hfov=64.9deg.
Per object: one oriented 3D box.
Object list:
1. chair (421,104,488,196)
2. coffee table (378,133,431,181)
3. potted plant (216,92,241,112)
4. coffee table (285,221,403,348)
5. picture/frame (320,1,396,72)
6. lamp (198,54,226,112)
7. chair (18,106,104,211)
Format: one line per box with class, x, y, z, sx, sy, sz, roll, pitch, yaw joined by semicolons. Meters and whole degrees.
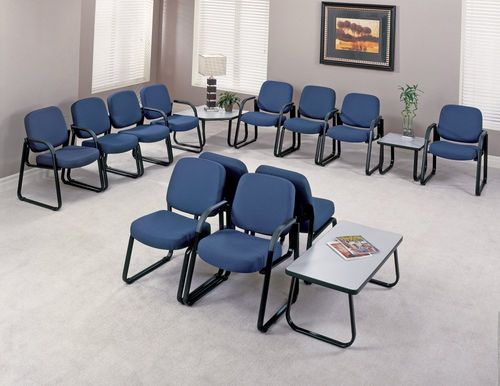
chair;2.925;-0.583;5.568;1.014;1.459;0.848;9;21;30
coffee table;2.276;-0.688;5.858;0.753;0.672;0.740;11;23;31
potted plant;-0.364;-1.553;6.823;0.451;0.324;0.460;2;10;-5
coffee table;0.686;0.471;2.837;0.675;0.611;1.217;11;26;31
picture/frame;1.834;-2.634;6.526;1.159;0.979;0.057;8;15;28
lamp;-0.666;-1.940;6.863;0.446;0.906;0.582;0;19;-8
chair;-2.306;-0.465;4.710;0.857;1.030;0.805;13;21;25
